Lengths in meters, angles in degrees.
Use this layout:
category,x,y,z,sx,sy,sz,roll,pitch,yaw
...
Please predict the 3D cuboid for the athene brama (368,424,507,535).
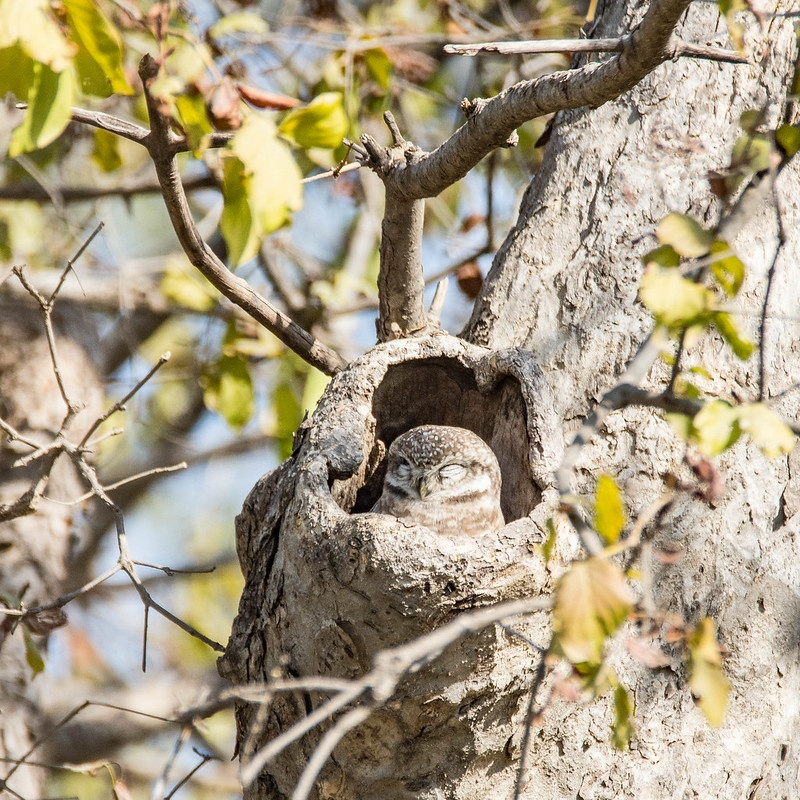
category,x,y,z,sx,sy,sz,roll,pitch,yaw
athene brama,0.170,0.344,8.363,0.338,0.397,0.497,0,-8,11
